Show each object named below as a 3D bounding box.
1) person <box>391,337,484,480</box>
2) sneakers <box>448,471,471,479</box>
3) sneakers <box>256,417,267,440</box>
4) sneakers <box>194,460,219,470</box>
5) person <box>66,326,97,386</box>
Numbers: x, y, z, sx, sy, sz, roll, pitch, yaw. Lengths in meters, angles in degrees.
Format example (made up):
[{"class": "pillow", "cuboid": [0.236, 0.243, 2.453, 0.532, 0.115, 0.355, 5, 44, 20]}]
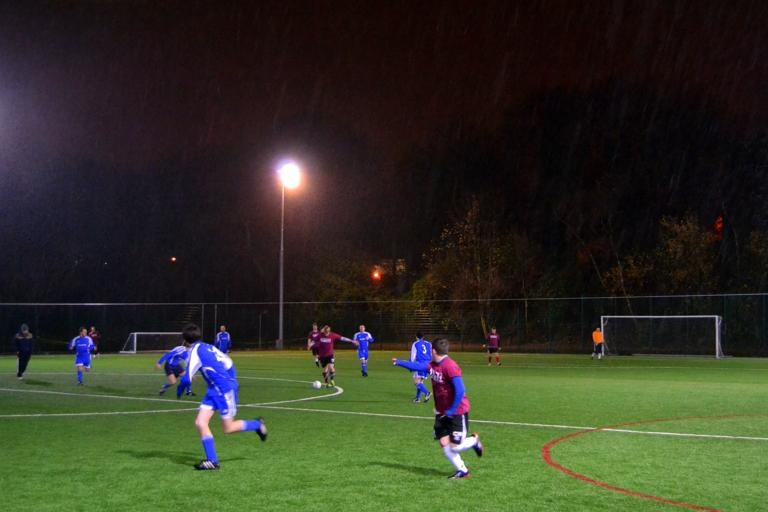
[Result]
[{"class": "person", "cuboid": [1.187, 2.912, 12.270, 1.053, 2.570, 1.289, -2, -10, 16]}, {"class": "sneakers", "cuboid": [1.427, 4.123, 12.187, 0.419, 0.197, 0.145, 2, -5, 0]}, {"class": "sneakers", "cuboid": [-2.517, 3.599, 13.262, 0.201, 0.580, 0.253, -7, -7, -15]}, {"class": "sneakers", "cuboid": [-3.464, 4.078, 12.628, 0.484, 0.232, 0.185, 2, -2, 22]}, {"class": "person", "cuboid": [-11.700, 3.877, 24.991, 1.030, 2.227, 1.407, -1, 1, 3]}]
